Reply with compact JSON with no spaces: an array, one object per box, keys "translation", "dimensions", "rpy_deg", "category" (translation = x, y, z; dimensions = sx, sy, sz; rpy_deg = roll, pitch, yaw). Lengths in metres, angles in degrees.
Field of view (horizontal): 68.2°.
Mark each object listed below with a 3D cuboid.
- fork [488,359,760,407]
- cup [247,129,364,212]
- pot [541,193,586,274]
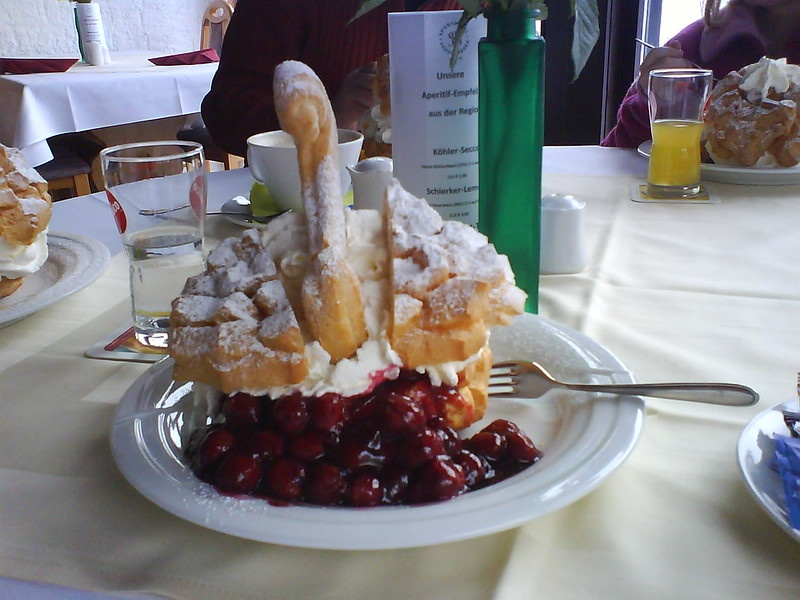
[{"translation":[0.205,0.080,0.560],"dimensions":[0.250,0.014,0.039],"rpy_deg":[-2,39,27],"category":"fork"},{"translation":[-0.173,-0.223,1.044],"dimensions":[0.196,0.132,0.184],"rpy_deg":[2,25,-1],"category":"cup"},{"translation":[0.261,-0.081,0.897],"dimensions":[0.046,0.077,0.076],"rpy_deg":[10,-6,29],"category":"pot"}]
